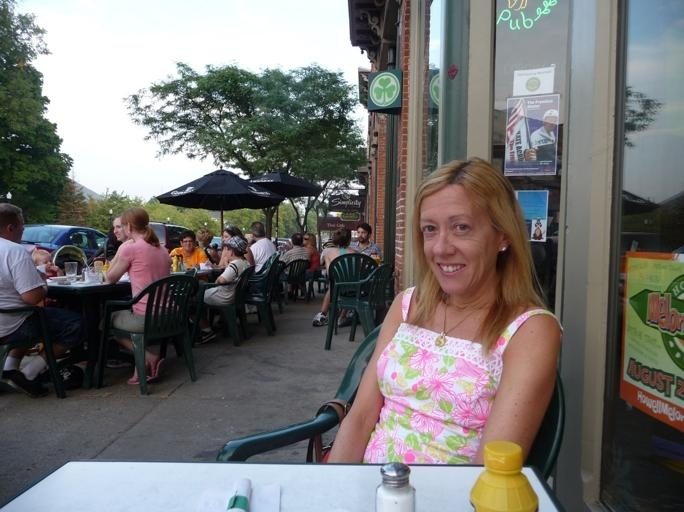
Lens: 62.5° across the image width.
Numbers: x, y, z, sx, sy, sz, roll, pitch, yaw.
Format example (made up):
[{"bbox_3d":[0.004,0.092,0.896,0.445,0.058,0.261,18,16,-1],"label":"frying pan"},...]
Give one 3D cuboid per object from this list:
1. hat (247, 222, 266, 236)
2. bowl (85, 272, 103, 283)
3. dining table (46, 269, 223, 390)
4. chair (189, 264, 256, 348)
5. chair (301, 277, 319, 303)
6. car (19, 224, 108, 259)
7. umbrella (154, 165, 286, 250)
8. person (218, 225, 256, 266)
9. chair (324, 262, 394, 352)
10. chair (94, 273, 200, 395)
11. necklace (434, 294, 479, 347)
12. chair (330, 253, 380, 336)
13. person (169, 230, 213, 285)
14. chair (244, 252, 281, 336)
[{"bbox_3d":[-1.444,-0.448,9.563,0.208,0.278,0.258,-3,-3,-15],"label":"hat"},{"bbox_3d":[-2.610,0.222,5.881,0.143,0.115,0.149,2,4,0],"label":"bowl"},{"bbox_3d":[-2.086,0.594,5.641,1.099,1.630,1.182,2,1,19],"label":"dining table"},{"bbox_3d":[-1.541,0.670,7.725,0.920,1.312,0.918,2,0,1],"label":"chair"},{"bbox_3d":[-0.788,0.736,12.310,0.475,0.671,0.514,2,1,10],"label":"chair"},{"bbox_3d":[-5.902,-0.319,11.880,0.793,0.650,1.818,1,4,9],"label":"car"},{"bbox_3d":[-2.397,-1.185,10.833,1.958,1.048,1.851,-1,-2,-44],"label":"umbrella"},{"bbox_3d":[-1.749,-0.166,9.035,0.688,0.966,0.681,0,1,-7],"label":"person"},{"bbox_3d":[0.201,0.585,7.316,0.886,1.507,1.059,0,11,-4],"label":"chair"},{"bbox_3d":[-1.943,0.678,5.577,0.946,1.225,0.984,-11,-19,-3],"label":"chair"},{"bbox_3d":[0.462,0.264,2.247,0.123,0.211,0.025,24,-12,20],"label":"necklace"},{"bbox_3d":[0.205,0.598,7.178,0.731,0.983,0.654,3,0,-37],"label":"chair"},{"bbox_3d":[-2.718,0.108,9.896,0.693,1.100,0.684,-1,-6,-16],"label":"person"},{"bbox_3d":[-1.177,0.571,8.543,0.905,1.312,0.927,1,1,-2],"label":"chair"}]
